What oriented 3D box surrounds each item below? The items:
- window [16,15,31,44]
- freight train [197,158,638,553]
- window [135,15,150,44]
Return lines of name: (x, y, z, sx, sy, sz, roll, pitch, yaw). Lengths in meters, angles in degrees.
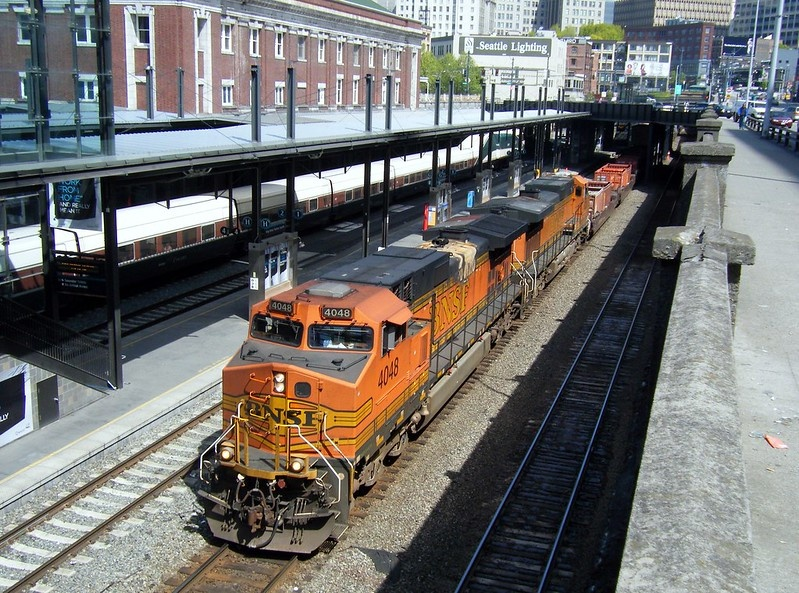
window: (-9.113, -6.416, 15.181, 0.357, 0.525, 0.140, -10, 22, -26)
freight train: (1.870, -0.885, 22.575, 4.307, 4.059, 25.081, 9, 19, 22)
window: (-19.503, -20.265, 47.531, 0.627, 2.101, 1.695, -18, 26, -41)
